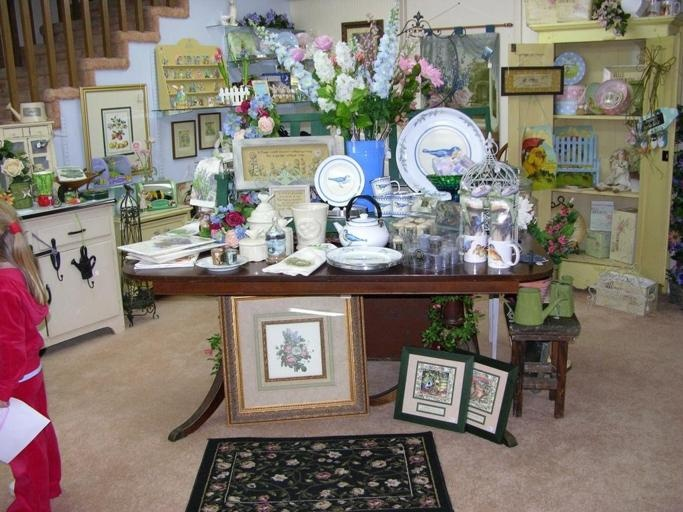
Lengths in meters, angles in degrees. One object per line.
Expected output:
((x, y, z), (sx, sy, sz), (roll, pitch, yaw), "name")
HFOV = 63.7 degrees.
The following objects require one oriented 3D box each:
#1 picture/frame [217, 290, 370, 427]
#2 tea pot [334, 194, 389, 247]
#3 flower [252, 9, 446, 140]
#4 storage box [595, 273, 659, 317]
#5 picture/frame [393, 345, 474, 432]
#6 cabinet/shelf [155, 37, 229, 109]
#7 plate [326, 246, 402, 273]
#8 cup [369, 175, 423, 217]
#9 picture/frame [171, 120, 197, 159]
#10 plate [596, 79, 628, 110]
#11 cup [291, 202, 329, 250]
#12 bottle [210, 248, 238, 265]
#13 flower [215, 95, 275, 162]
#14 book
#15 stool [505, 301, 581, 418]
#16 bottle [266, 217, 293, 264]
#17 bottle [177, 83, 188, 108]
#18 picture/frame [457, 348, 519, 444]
((-0.301, 0.626, 3.436), (0.830, 0.869, 0.063), (-3, 6, -1), "picture/frame")
((0.111, -0.222, 3.296), (0.315, 0.304, 0.269), (5, 10, 16), "tea pot")
((0.091, -1.126, 3.452), (1.034, 0.782, 0.440), (0, 14, 9), "flower")
((2.671, 0.334, 5.268), (0.544, 0.344, 0.300), (14, 22, 41), "storage box")
((0.584, 0.849, 3.449), (0.456, 0.473, 0.047), (8, 0, 20), "picture/frame")
((-1.761, -2.097, 6.352), (0.257, 0.785, 0.800), (10, 19, 35), "cabinet/shelf")
((0.128, 0.013, 3.072), (0.424, 0.098, 0.242), (-1, 14, 8), "plate")
((0.355, -0.382, 3.519), (0.301, 0.220, 0.208), (-4, 13, 10), "cup")
((-1.891, -1.396, 6.556), (0.032, 0.459, 0.437), (9, 16, 32), "picture/frame")
((2.643, -1.563, 5.361), (0.274, 0.285, 0.181), (-3, -8, 44), "plate")
((-0.188, -0.188, 3.425), (0.245, 0.277, 0.246), (-1, 12, 0), "cup")
((-0.658, 0.005, 3.090), (0.119, 0.060, 0.084), (1, 9, 8), "bottle")
((-0.672, -0.927, 3.698), (0.257, 0.165, 0.256), (-17, 2, 21), "flower")
((-0.980, -0.034, 3.266), (0.524, 0.114, 0.434), (8, 17, 36), "book")
((1.251, 0.743, 3.892), (0.569, 0.810, 0.790), (0, 16, 8), "stool")
((-0.371, -0.105, 3.268), (0.136, 0.255, 0.236), (4, 15, 24), "bottle")
((-1.819, -1.816, 6.286), (0.105, 0.266, 0.207), (0, 14, 10), "bottle")
((0.887, 0.878, 3.365), (0.449, 0.505, 0.207), (9, 0, 31), "picture/frame")
